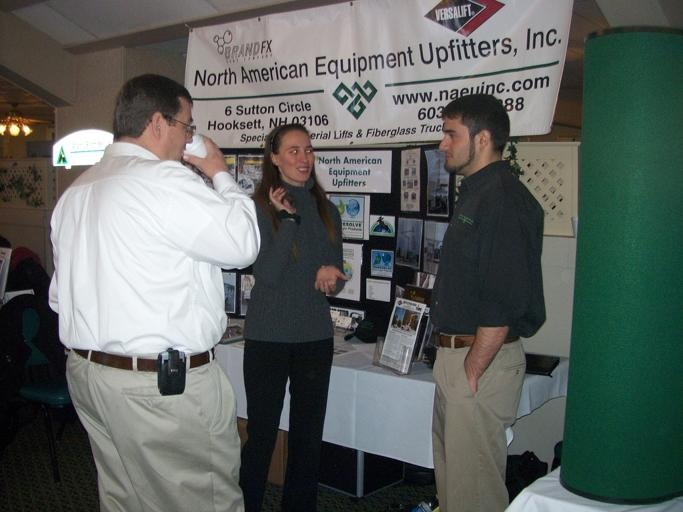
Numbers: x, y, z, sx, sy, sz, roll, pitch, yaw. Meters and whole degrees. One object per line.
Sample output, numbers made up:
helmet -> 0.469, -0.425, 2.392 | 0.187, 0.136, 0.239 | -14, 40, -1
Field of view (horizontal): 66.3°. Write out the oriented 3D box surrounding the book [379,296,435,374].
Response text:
book -> 0.299, 0.389, 2.533 | 0.240, 0.346, 0.130 | 3, 4, 7

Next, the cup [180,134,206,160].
cup -> -0.503, -0.369, 1.765 | 0.071, 0.077, 0.073 | 0, 10, 0
